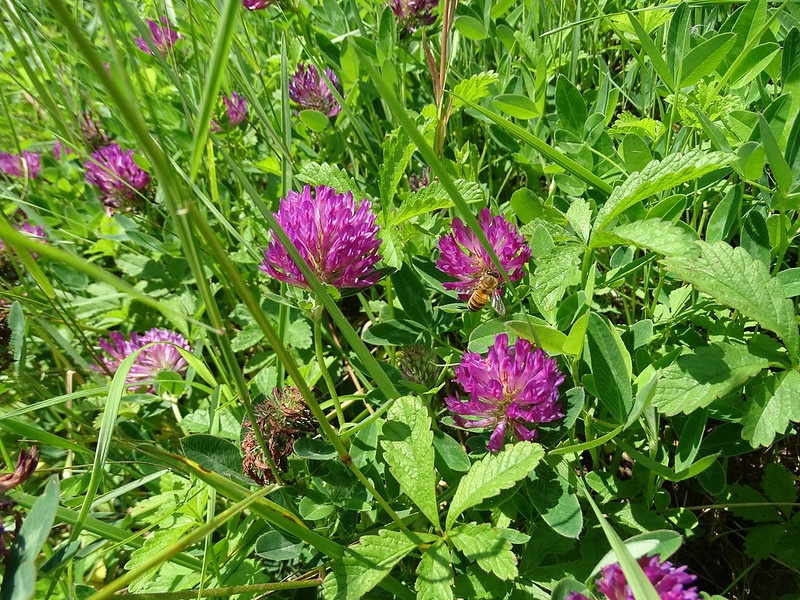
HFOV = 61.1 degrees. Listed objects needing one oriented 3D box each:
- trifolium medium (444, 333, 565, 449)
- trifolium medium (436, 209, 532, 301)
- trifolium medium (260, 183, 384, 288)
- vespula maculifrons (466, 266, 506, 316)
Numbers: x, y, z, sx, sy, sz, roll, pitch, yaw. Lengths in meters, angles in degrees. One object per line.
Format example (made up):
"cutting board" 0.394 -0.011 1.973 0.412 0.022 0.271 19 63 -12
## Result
"trifolium medium" 0.342 0.257 2.160 0.437 0.251 0.450 0 14 -21
"trifolium medium" 0.281 -0.161 2.352 0.274 0.184 0.328 28 89 36
"trifolium medium" -0.255 -0.170 2.299 0.390 0.495 0.425 0 3 -27
"vespula maculifrons" 0.315 -0.028 2.331 0.139 0.126 0.115 20 54 28
